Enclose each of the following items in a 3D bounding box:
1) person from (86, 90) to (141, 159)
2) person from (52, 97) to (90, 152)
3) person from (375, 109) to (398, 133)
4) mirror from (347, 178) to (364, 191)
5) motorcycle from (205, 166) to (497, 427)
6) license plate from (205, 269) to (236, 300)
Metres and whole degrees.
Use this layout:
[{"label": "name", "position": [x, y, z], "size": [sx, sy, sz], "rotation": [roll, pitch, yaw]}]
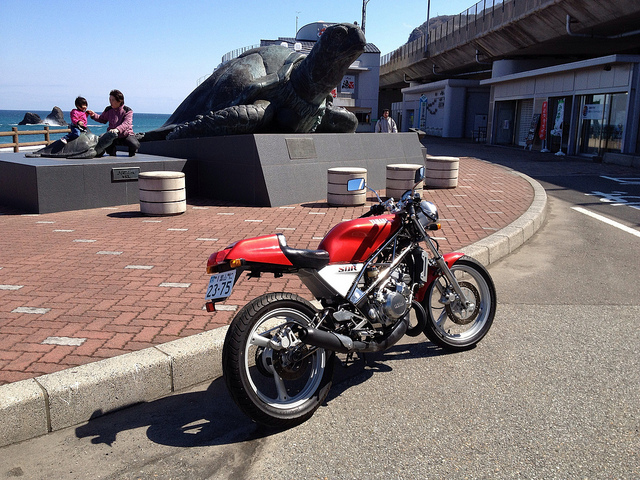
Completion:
[{"label": "person", "position": [-5.209, -2.911, 11.660], "size": [1.156, 1.659, 1.072], "rotation": [4, 11, 7]}, {"label": "person", "position": [-6.895, -3.261, 12.646], "size": [0.785, 1.464, 2.461], "rotation": [-6, 15, -20]}, {"label": "person", "position": [2.706, -4.946, 18.771], "size": [0.775, 0.914, 2.794], "rotation": [1, 14, 7]}, {"label": "mirror", "position": [0.278, -0.432, 3.602], "size": [0.111, 0.100, 0.268], "rotation": [4, 15, 18]}, {"label": "motorcycle", "position": [0.441, 0.350, 3.907], "size": [2.820, 1.770, 1.070], "rotation": [-9, 0, -35]}, {"label": "license plate", "position": [-0.667, 0.306, 3.053], "size": [0.291, 0.184, 0.004], "rotation": [-14, -32, 41]}]
